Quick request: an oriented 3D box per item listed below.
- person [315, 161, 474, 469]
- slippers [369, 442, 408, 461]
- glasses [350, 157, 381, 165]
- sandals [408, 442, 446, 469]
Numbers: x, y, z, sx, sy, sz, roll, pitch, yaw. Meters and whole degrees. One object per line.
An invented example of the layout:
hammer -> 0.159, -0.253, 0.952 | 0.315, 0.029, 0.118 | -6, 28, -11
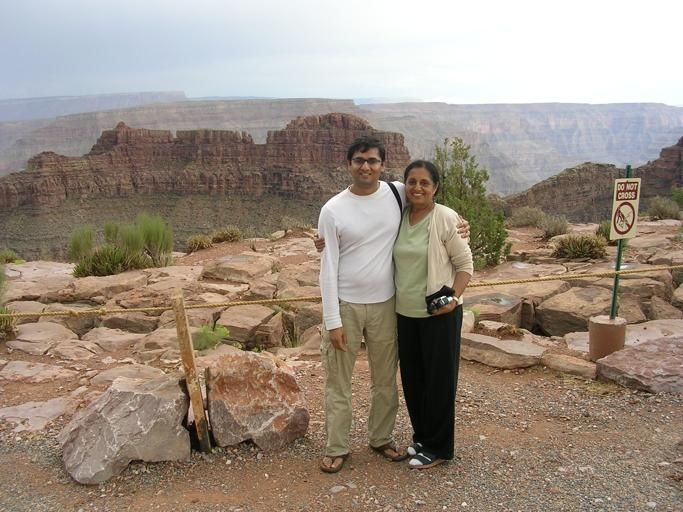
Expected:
person -> 0.143, 0.407, 3.760 | 0.886, 2.589, 0.509 | -7, 12, -7
slippers -> 0.409, 1.645, 3.903 | 0.121, 0.059, 0.225 | -13, 18, -42
glasses -> 0.196, -0.736, 3.619 | 0.223, 0.071, 0.072 | -5, 11, -1
sandals -> 0.732, 1.638, 3.803 | 0.354, 0.139, 0.126 | 3, 1, -17
